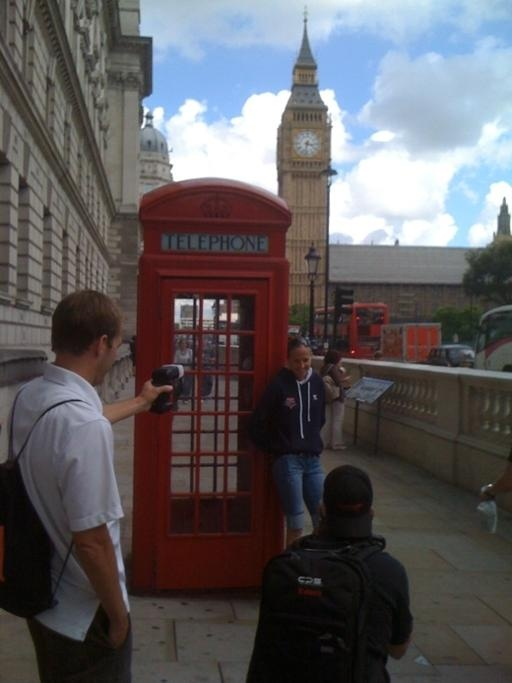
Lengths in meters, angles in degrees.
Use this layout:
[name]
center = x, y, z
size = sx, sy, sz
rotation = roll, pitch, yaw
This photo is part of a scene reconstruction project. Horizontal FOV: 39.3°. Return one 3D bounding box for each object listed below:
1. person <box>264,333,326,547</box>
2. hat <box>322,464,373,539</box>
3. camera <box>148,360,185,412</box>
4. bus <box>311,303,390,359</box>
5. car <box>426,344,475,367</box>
[person]
center = 0.281, 0.713, 4.546
size = 0.327, 1.623, 0.296
rotation = -6, 18, -6
[hat]
center = 0.303, 0.468, 2.369
size = 0.144, 0.108, 0.244
rotation = -2, 13, 16
[camera]
center = -0.355, 0.178, 2.928
size = 0.066, 0.178, 0.239
rotation = 7, 12, 14
[bus]
center = 4.265, -0.398, 38.153
size = 1.747, 3.577, 5.623
rotation = -8, 3, -23
[car]
center = 9.363, 0.689, 34.475
size = 2.000, 0.990, 4.601
rotation = 4, 1, 15
